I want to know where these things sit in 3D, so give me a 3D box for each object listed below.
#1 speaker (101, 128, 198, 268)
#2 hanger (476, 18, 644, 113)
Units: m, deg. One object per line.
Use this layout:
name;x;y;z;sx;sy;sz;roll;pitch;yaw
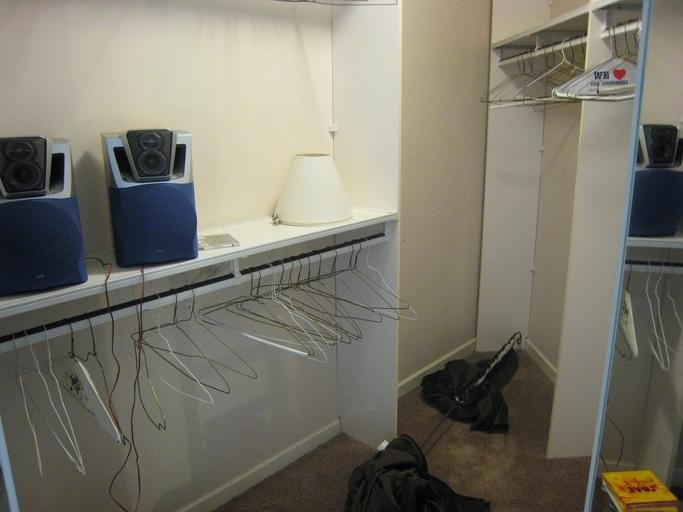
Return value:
speaker;-0.745;-0.294;2.171;0.311;0.554;0.306;-5;40;-19
hanger;1.132;-0.957;2.909;0.503;0.271;0.751;-19;24;-30
